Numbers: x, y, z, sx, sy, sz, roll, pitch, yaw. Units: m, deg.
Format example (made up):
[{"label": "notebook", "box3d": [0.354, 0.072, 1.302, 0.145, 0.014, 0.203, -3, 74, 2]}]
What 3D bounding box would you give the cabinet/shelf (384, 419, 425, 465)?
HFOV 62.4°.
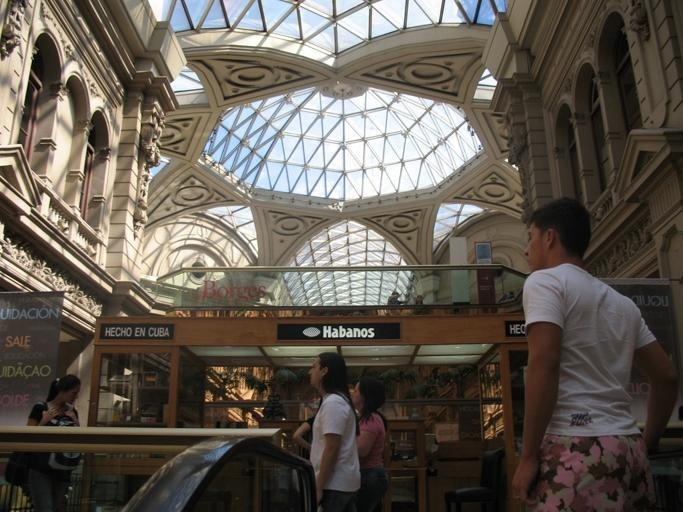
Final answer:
[{"label": "cabinet/shelf", "box3d": [1.003, 3.048, 8.971, 0.786, 0.728, 0.542, -6, -28, 11]}]
